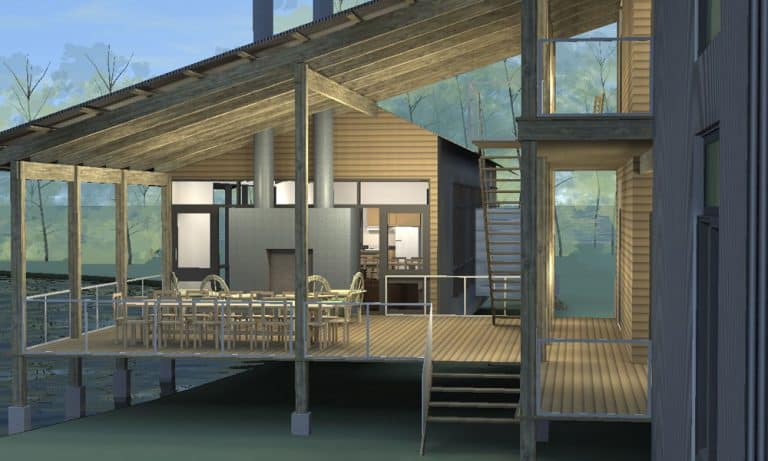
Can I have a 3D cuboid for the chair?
[{"bbox_3d":[-2.902,1.560,17.267,4.543,1.296,2.859,-1,4,4],"label":"chair"}]
